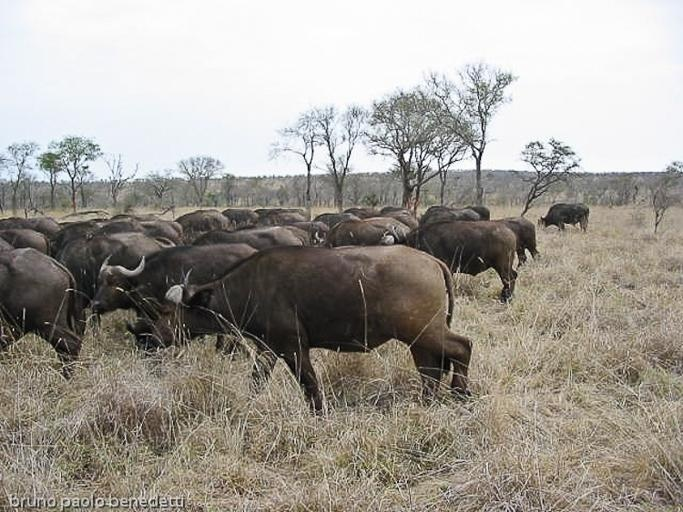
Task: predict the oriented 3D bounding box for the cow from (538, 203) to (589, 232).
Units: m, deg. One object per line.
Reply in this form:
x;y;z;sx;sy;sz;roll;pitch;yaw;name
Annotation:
10.496;-1.801;29.262;0.764;1.230;2.559;-2;8;-22;cow
